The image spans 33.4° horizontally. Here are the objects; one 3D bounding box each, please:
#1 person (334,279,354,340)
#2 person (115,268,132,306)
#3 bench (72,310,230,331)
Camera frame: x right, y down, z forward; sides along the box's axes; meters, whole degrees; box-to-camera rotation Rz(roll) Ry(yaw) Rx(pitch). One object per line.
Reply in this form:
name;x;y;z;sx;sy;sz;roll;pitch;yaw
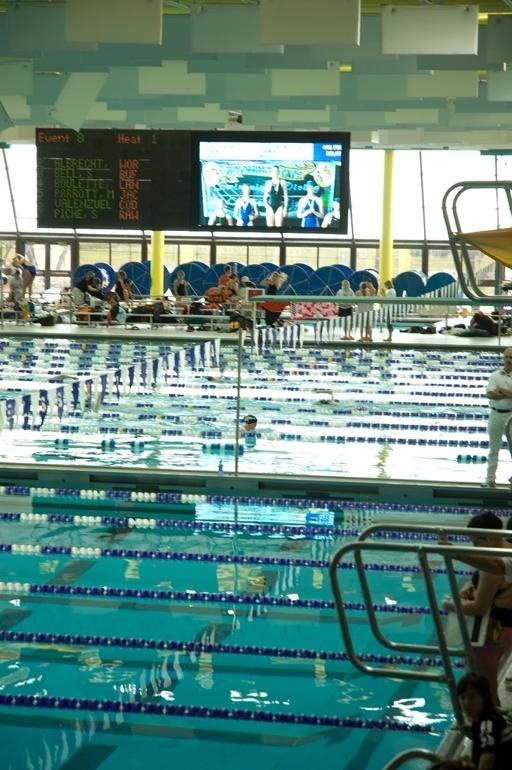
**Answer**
person;1.212;-1.010;11.649;0.265;0.793;0.246;1;5;24
person;-1.922;-1.386;12.277;0.214;0.454;0.884;-1;10;-9
bench;-1.417;-0.903;11.843;2.363;0.282;0.686;5;10;25
